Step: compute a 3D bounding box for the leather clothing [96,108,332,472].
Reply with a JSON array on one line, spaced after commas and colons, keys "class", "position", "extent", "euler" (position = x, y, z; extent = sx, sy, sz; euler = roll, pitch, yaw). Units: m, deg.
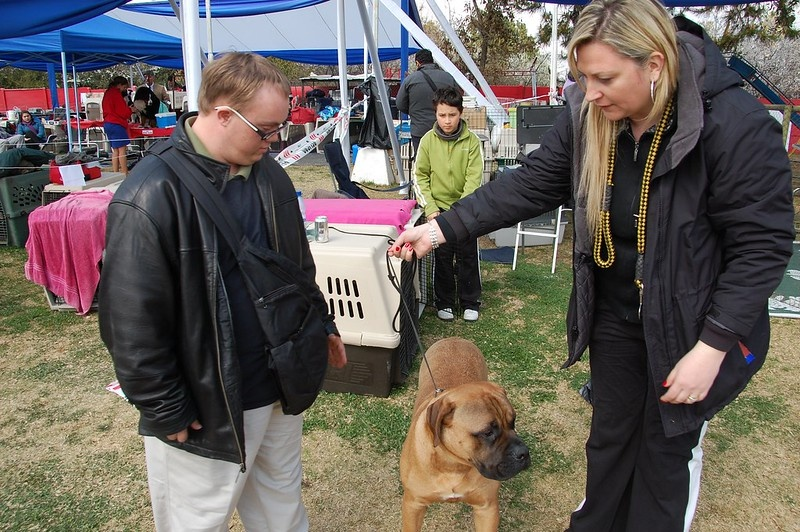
[{"class": "leather clothing", "position": [-0.797, 0.084, 2.333], "extent": [0.744, 1.303, 1.149], "euler": [18, 27, 29]}]

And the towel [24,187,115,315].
[{"class": "towel", "position": [-3.430, -0.142, 5.408], "extent": [1.096, 0.991, 0.958], "euler": [-3, 18, -28]}]

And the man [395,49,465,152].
[{"class": "man", "position": [0.420, -2.249, 7.692], "extent": [0.926, 2.051, 0.721], "euler": [-5, 19, -13]}]

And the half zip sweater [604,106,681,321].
[{"class": "half zip sweater", "position": [1.045, -0.280, 2.257], "extent": [0.262, 0.870, 0.092], "euler": [5, 19, 22]}]

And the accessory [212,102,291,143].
[{"class": "accessory", "position": [-0.626, -0.601, 2.037], "extent": [0.172, 0.051, 0.164], "euler": [34, 19, 0]}]

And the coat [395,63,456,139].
[{"class": "coat", "position": [0.441, -2.519, 7.479], "extent": [0.987, 0.988, 0.584], "euler": [0, 7, -8]}]

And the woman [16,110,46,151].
[{"class": "woman", "position": [-10.633, -4.027, 14.072], "extent": [0.533, 0.853, 0.340], "euler": [-7, -30, -39]}]

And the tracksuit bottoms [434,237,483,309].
[{"class": "tracksuit bottoms", "position": [0.600, 0.056, 5.624], "extent": [0.644, 1.166, 0.676], "euler": [-1, 13, 8]}]

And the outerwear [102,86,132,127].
[{"class": "outerwear", "position": [-5.872, -3.235, 10.063], "extent": [0.724, 0.765, 0.460], "euler": [3, 7, 33]}]
